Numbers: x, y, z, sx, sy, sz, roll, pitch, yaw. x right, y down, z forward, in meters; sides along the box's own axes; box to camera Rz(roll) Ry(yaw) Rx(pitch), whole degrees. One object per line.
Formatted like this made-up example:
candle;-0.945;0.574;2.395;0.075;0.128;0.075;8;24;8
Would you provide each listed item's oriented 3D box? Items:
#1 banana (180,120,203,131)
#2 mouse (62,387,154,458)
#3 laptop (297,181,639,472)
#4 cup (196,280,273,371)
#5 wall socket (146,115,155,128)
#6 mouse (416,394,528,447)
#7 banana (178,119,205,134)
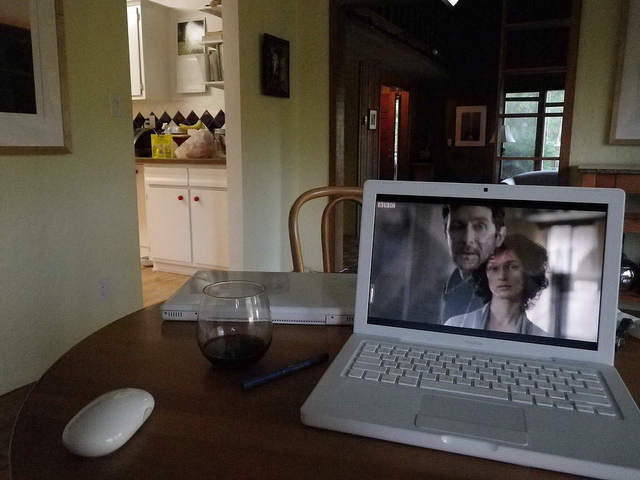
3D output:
banana;-1.191;-1.055;4.542;0.200;0.084;0.133;-5;12;-15
mouse;-0.287;0.223;0.645;0.064;0.028;0.093;16;22;18
laptop;0.264;0.154;0.840;0.464;0.351;0.425;4;8;18
cup;-0.140;0.151;0.874;0.135;0.140;0.138;0;3;0
wall socket;-1.710;-1.194;4.948;0.109;0.153;0.015;5;11;20
mouse;0.207;0.248;0.682;0.145;0.022;0.073;1;12;13
banana;-1.200;-1.058;4.566;0.225;0.115;0.256;-5;12;-16
